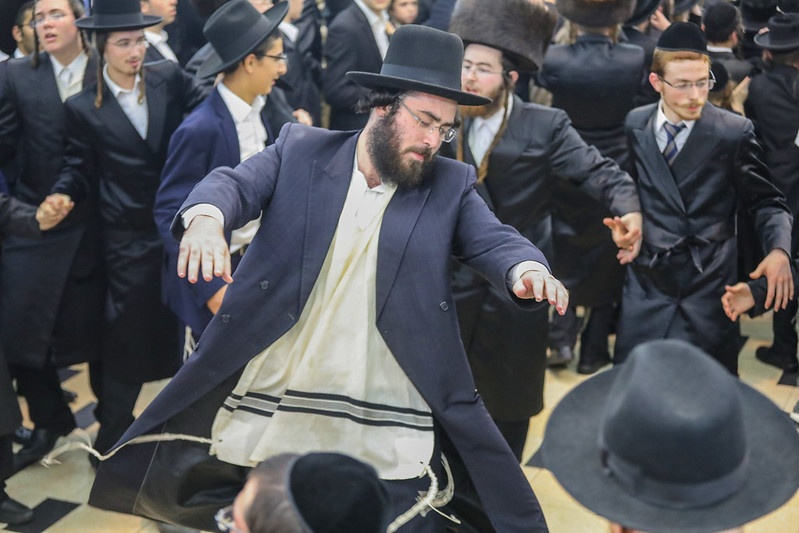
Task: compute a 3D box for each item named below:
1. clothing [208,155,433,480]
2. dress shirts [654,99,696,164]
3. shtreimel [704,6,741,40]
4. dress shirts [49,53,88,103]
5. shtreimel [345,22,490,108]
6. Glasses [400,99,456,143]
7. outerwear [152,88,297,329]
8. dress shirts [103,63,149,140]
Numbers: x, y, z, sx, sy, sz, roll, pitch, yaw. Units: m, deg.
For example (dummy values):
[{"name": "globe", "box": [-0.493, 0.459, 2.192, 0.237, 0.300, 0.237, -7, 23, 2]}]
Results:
[{"name": "clothing", "box": [-0.380, 0.290, 4.744, 1.219, 1.896, 0.209, 7, 12, -6]}, {"name": "dress shirts", "box": [1.713, -0.851, 5.903, 0.203, 0.399, 0.088, 20, 13, 32]}, {"name": "shtreimel", "box": [2.596, -1.970, 7.605, 0.225, 0.358, 0.213, 1, 12, 18]}, {"name": "dress shirts", "box": [-2.222, -1.246, 6.306, 0.245, 0.118, 0.509, -1, 57, -25]}, {"name": "shtreimel", "box": [0.109, -1.053, 4.913, 0.473, 0.229, 0.514, 13, 3, -30]}, {"name": "Glasses", "box": [0.146, -0.739, 4.956, 0.216, 0.068, 0.233, 17, 29, -54]}, {"name": "outerwear", "box": [-1.005, -0.329, 5.352, 0.626, 1.280, 0.959, 33, 37, 20]}, {"name": "dress shirts", "box": [-1.840, -1.111, 6.319, 0.239, 0.528, 0.073, -25, 11, -32]}]
